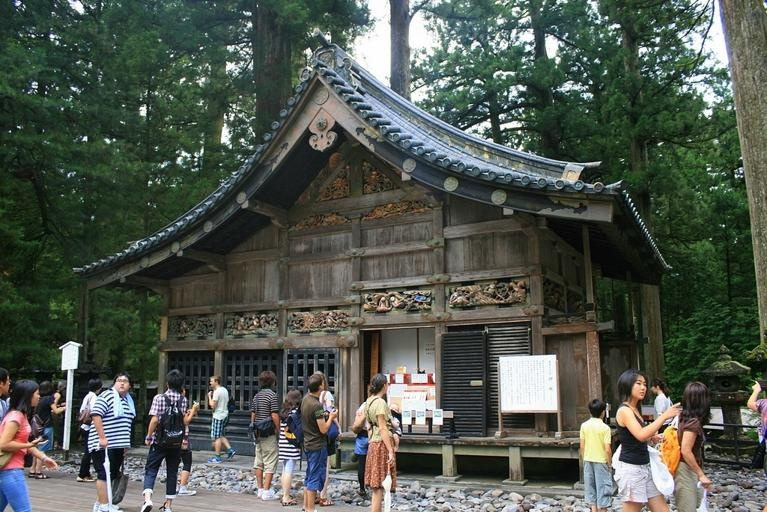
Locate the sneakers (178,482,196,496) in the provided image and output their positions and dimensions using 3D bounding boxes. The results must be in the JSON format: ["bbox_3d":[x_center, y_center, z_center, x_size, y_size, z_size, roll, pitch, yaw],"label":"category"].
[{"bbox_3d":[-4.167,5.011,15.414,0.491,0.222,0.173,6,-4,-8],"label":"sneakers"}]

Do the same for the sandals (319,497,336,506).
[{"bbox_3d":[-1.138,5.045,14.714,0.146,0.109,0.287,-1,-5,35],"label":"sandals"}]

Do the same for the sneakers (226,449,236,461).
[{"bbox_3d":[-3.944,5.147,18.567,0.201,0.160,0.463,21,-37,5],"label":"sneakers"}]

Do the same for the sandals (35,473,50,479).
[{"bbox_3d":[-7.972,5.128,16.735,0.267,0.101,0.128,1,-7,-2],"label":"sandals"}]

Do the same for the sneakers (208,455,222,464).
[{"bbox_3d":[-4.356,5.179,18.246,0.429,0.196,0.166,-2,-20,20],"label":"sneakers"}]

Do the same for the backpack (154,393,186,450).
[{"bbox_3d":[-4.116,3.173,13.819,0.480,1.017,0.264,-1,-15,7],"label":"backpack"}]

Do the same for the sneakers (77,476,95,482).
[{"bbox_3d":[-6.834,5.094,16.488,0.457,0.177,0.150,0,-12,-7],"label":"sneakers"}]

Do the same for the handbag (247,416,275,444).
[{"bbox_3d":[-2.528,3.725,15.355,0.454,0.468,0.575,-14,-30,34],"label":"handbag"}]

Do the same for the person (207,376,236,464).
[{"bbox_3d":[-4.215,4.252,18.734,0.777,2.157,1.403,4,-15,-12],"label":"person"}]

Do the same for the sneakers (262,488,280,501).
[{"bbox_3d":[-2.358,5.016,15.103,0.355,0.181,0.235,14,-19,-43],"label":"sneakers"}]
